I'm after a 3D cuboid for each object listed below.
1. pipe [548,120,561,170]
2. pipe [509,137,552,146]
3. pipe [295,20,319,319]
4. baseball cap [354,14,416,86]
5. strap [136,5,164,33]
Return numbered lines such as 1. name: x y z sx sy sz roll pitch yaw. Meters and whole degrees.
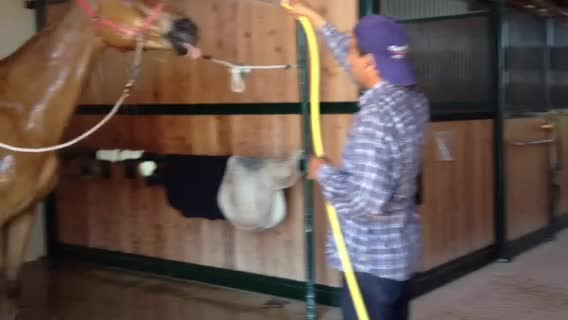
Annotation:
1. pipe: 2.255 -0.142 5.567 0.149 0.431 0.045 -6 12 -19
2. pipe: 1.995 -0.164 5.442 0.427 0.044 0.058 -1 30 -26
3. pipe: 0.154 0.045 4.319 0.157 1.976 0.144 2 1 2
4. baseball cap: 0.525 -0.584 3.464 0.308 0.362 0.099 0 12 6
5. strap: -0.734 -0.814 3.717 0.067 0.251 0.026 39 -14 -12
